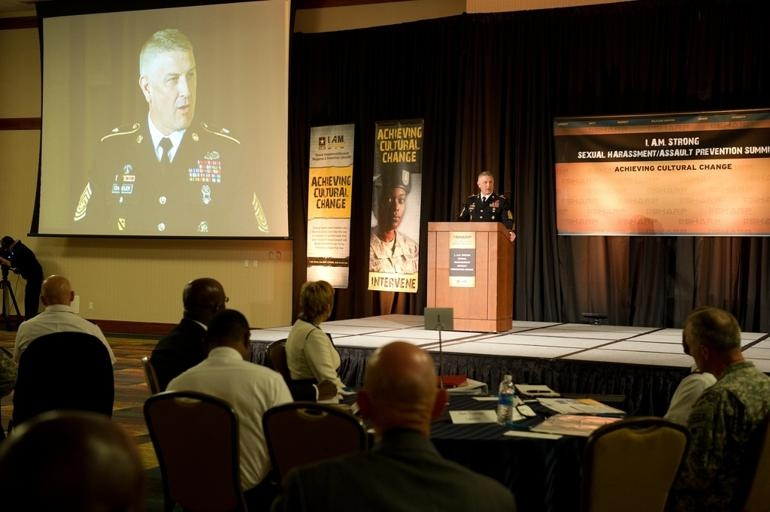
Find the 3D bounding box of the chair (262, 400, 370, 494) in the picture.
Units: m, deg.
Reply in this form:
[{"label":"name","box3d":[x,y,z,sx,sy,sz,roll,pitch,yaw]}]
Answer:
[{"label":"chair","box3d":[-0.335,0.865,2.833,0.517,0.427,0.176,1,-2,32]}]

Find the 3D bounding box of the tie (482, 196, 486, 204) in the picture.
[{"label":"tie","box3d":[1.230,-0.692,7.779,0.076,0.081,0.019,-1,-10,11]}]

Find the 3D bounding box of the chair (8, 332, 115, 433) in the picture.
[{"label":"chair","box3d":[-1.876,0.715,3.698,0.520,0.539,0.283,3,-3,-28]}]

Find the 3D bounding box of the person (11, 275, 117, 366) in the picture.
[{"label":"person","box3d":[-2.270,0.486,4.436,0.712,0.679,0.399,-3,1,-33]}]

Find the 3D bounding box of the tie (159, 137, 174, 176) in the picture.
[{"label":"tie","box3d":[-3.813,-1.828,10.977,0.277,0.450,0.101,-1,-4,25]}]
